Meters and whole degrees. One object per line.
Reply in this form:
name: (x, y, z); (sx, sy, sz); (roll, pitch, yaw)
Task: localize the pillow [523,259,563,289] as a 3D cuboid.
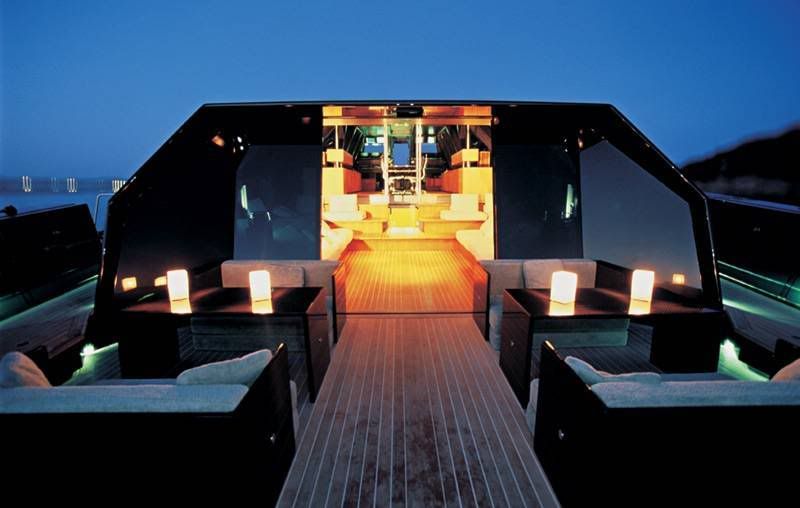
pillow: (2.569, 0.320, 9.389); (0.541, 0.460, 0.546); (1, 12, 7)

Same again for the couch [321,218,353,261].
couch: (-1.536, -0.374, 12.228); (0.628, 0.816, 1.528); (0, 8, -4)

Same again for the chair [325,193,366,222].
chair: (-1.629, -1.292, 14.731); (0.909, 0.617, 0.911); (0, 7, 2)

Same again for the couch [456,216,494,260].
couch: (1.915, -0.443, 13.029); (0.975, 1.295, 0.920); (3, 7, 21)

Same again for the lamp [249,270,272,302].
lamp: (-2.365, 0.511, 8.693); (0.365, 0.492, 0.329); (-1, 7, -14)

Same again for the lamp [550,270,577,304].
lamp: (2.692, 0.528, 8.413); (0.481, 0.668, 0.487); (0, -5, 34)

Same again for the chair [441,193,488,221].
chair: (1.864, -1.300, 14.868); (0.895, 0.607, 0.904); (1, 11, 6)
